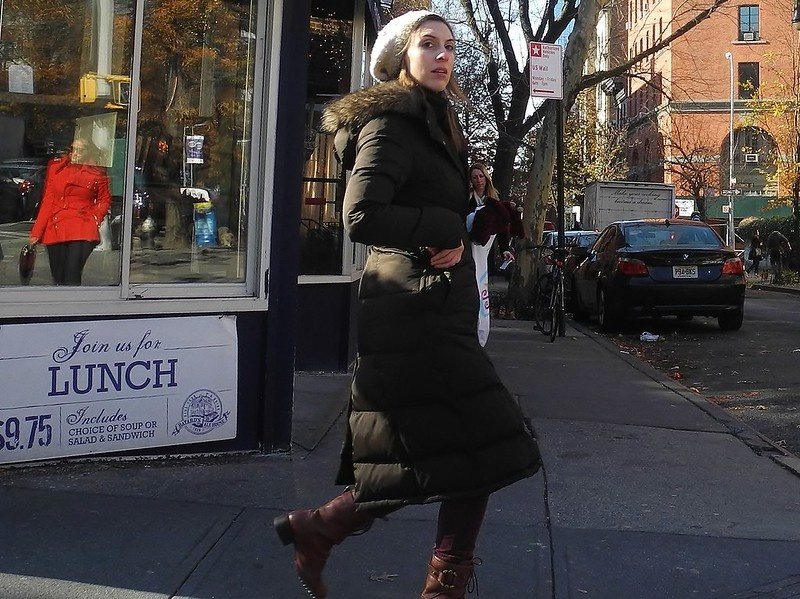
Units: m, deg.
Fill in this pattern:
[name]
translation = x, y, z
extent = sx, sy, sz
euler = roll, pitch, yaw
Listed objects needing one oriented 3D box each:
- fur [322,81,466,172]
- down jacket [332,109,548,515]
[fur]
translation = -0.056, -0.612, 2.844
extent = 0.582, 0.431, 0.402
euler = 7, 13, -9
[down jacket]
translation = 0.096, -0.022, 2.806
extent = 0.762, 1.614, 0.718
euler = -5, 2, 13
